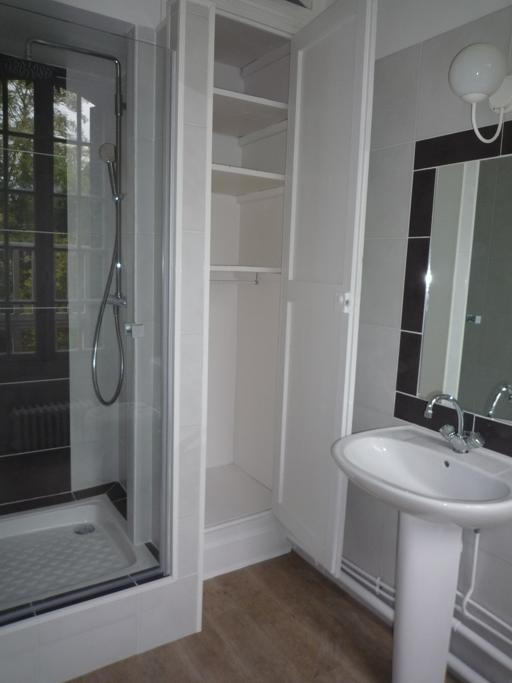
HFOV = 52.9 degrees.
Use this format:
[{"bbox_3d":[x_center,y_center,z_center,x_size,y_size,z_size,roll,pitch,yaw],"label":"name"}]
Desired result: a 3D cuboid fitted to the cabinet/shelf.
[{"bbox_3d":[0.025,-0.115,2.263,0.451,2.238,1.368,0,6,-13],"label":"cabinet/shelf"}]
